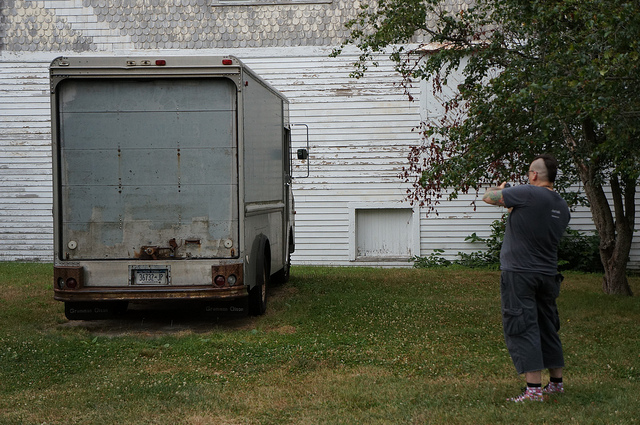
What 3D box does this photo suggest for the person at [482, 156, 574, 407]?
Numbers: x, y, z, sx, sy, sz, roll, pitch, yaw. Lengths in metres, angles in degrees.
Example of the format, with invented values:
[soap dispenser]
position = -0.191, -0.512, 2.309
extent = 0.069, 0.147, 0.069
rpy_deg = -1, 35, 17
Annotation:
[person]
position = 3.249, 1.031, 12.708
extent = 1.207, 3.747, 1.581
rpy_deg = 3, 12, 16

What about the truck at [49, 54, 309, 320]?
[truck]
position = -2.722, -0.417, 18.096
extent = 3.693, 3.234, 5.919
rpy_deg = 0, 0, 3

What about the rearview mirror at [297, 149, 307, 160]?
[rearview mirror]
position = -0.402, -1.355, 19.181
extent = 0.216, 0.215, 0.230
rpy_deg = 1, 2, 15
